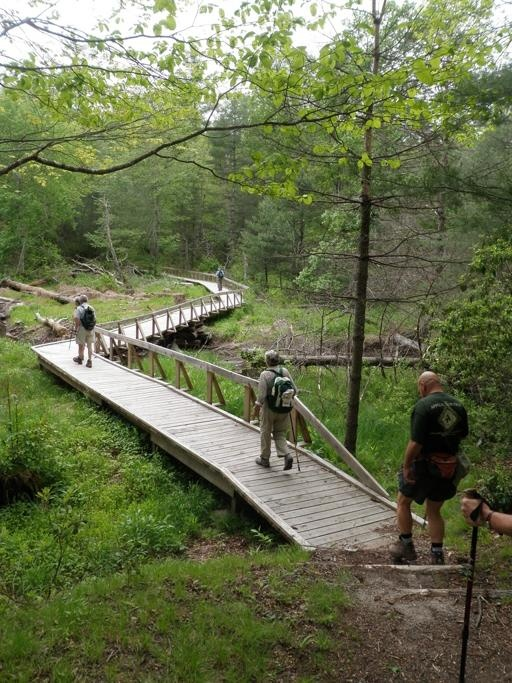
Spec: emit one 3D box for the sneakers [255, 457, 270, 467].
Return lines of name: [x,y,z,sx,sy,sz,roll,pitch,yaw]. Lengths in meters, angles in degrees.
sneakers: [0.093,1.531,7.896,0.087,0.079,0.194,-9,17,-26]

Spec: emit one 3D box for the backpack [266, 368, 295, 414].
backpack: [0.288,0.608,7.261,0.349,0.460,0.490,-1,10,-21]

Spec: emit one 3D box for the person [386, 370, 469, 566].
person: [1.541,1.171,5.435,0.536,1.785,0.466,7,12,11]

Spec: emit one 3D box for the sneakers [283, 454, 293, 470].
sneakers: [0.395,1.493,7.711,0.098,0.207,0.140,8,39,-3]

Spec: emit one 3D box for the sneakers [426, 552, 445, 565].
sneakers: [1.599,1.891,5.467,0.138,0.120,0.129,1,0,-11]

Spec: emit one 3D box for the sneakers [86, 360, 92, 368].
sneakers: [-3.645,0.479,13.521,0.076,0.131,0.203,1,11,-17]

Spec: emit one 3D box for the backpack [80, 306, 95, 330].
backpack: [-3.383,-0.478,12.400,0.288,0.451,0.337,15,23,21]
